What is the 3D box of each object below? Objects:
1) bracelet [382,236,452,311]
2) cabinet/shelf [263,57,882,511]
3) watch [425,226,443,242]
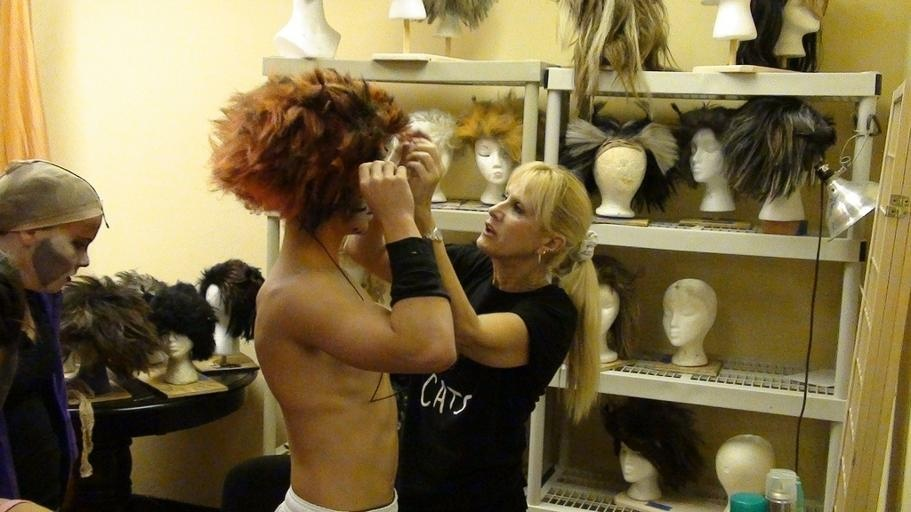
[{"bbox_3d":[-0.056,0.046,2.318,0.128,0.180,0.155,5,6,-41],"label":"bracelet"},{"bbox_3d":[0.536,0.100,2.878,1.881,1.650,0.567,8,10,14],"label":"cabinet/shelf"},{"bbox_3d":[-0.074,-0.069,2.466,0.056,0.031,0.045,-17,-2,29],"label":"watch"}]
